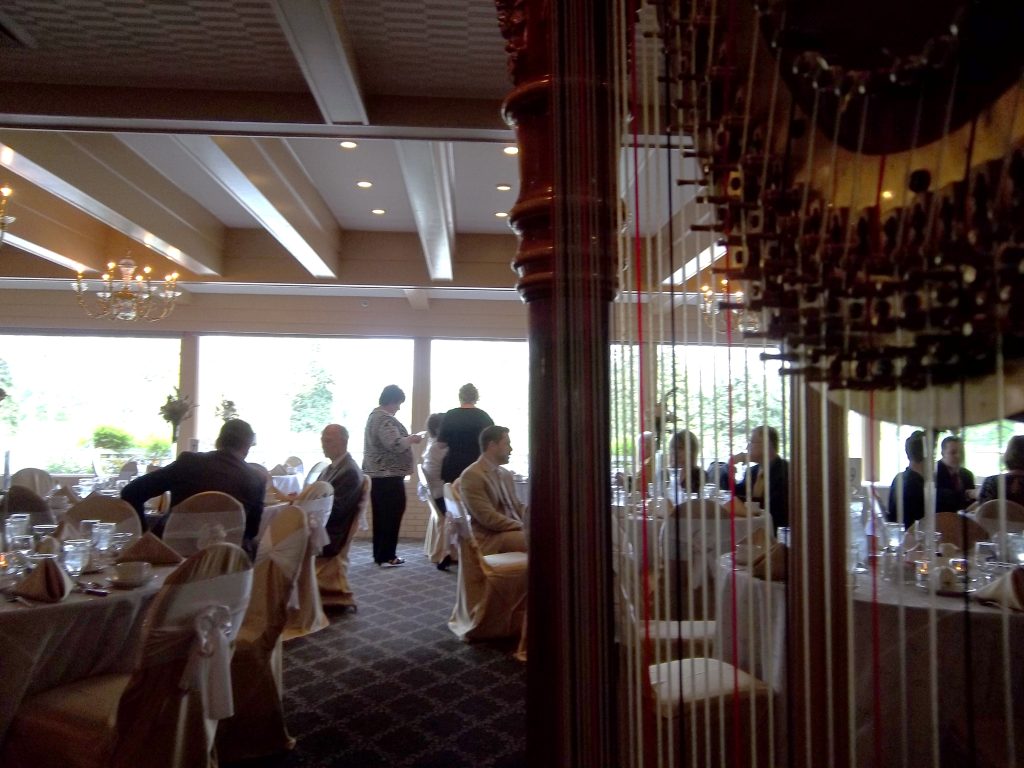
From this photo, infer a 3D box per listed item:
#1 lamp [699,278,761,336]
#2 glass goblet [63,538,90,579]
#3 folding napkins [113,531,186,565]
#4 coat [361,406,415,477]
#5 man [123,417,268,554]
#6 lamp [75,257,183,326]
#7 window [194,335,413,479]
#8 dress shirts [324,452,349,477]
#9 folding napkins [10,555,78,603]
[{"bbox_3d":[0.367,-0.143,1.325,0.072,0.068,0.073,20,-8,-40],"label":"lamp"},{"bbox_3d":[-1.661,0.680,2.893,0.103,0.126,0.105,1,-10,-1],"label":"glass goblet"},{"bbox_3d":[-1.450,0.685,3.002,0.168,0.069,0.162,-15,-19,36],"label":"folding napkins"},{"bbox_3d":[-1.142,0.542,6.838,0.457,0.614,0.717,-6,-1,-20],"label":"coat"},{"bbox_3d":[-2.036,0.623,4.795,0.531,0.856,0.480,21,-3,-32],"label":"man"},{"bbox_3d":[-3.946,-0.964,7.703,0.711,0.480,0.693,0,-3,41],"label":"lamp"},{"bbox_3d":[-2.403,0.196,8.427,1.743,1.297,0.038,1,-2,-3],"label":"window"},{"bbox_3d":[-1.315,0.622,5.540,0.127,0.144,0.210,12,-32,-36],"label":"dress shirts"},{"bbox_3d":[-1.527,0.638,2.464,0.132,0.063,0.173,2,-5,-17],"label":"folding napkins"}]
